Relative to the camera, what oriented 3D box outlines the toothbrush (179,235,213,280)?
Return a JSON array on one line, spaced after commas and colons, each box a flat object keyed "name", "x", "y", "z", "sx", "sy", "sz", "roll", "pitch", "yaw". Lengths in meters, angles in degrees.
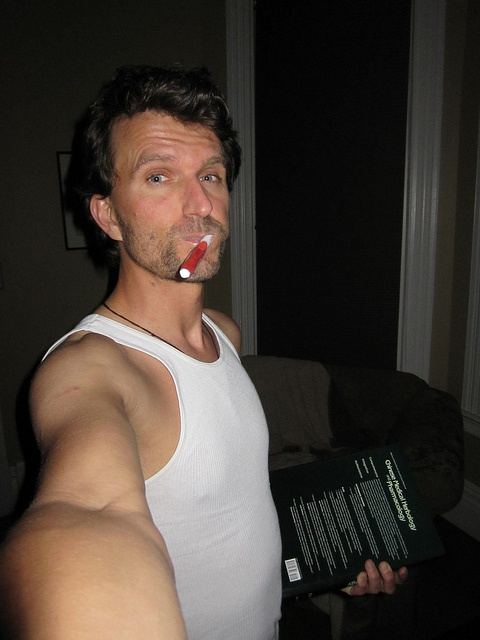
[{"name": "toothbrush", "x": -0.063, "y": -0.112, "z": 0.941, "sx": 0.028, "sy": 0.030, "sz": 0.113, "roll": 18, "pitch": 57, "yaw": 18}]
